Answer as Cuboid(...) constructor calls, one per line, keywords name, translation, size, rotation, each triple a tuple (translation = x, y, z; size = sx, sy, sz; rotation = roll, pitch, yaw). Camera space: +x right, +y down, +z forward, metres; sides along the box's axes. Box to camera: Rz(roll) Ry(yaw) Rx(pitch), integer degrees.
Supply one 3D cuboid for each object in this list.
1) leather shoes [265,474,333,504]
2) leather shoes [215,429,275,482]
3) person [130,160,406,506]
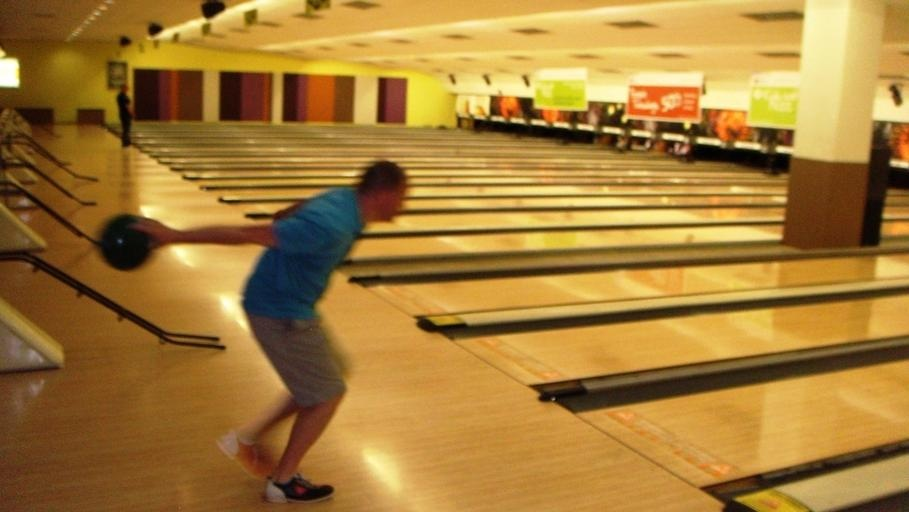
Cuboid(name="leather shoes", translation=(-0.770, 1.193, 2.890), size=(0.377, 0.108, 0.122), rotation=(1, -6, -10))
Cuboid(name="leather shoes", translation=(-1.053, 1.066, 2.972), size=(0.197, 0.444, 0.155), rotation=(-32, 48, 19))
Cuboid(name="person", translation=(-0.753, 0.392, 2.756), size=(1.162, 1.683, 0.386), rotation=(-5, 18, -21))
